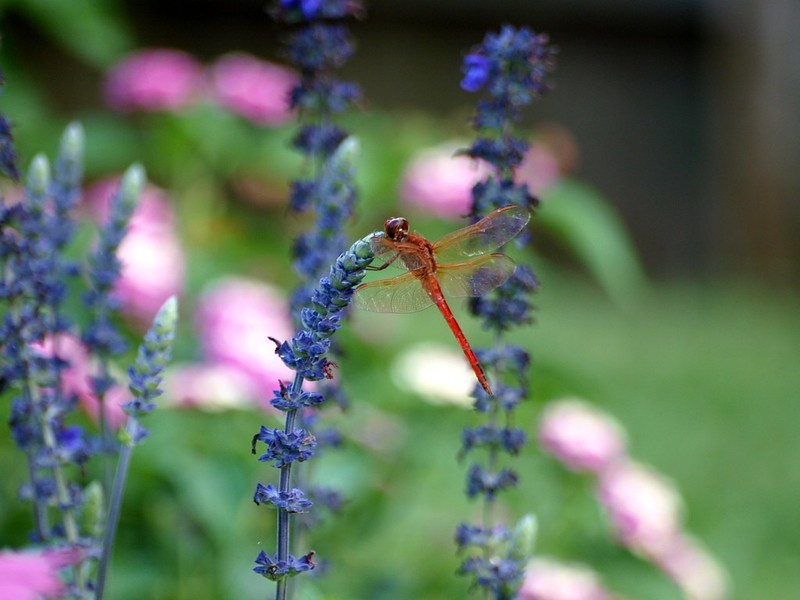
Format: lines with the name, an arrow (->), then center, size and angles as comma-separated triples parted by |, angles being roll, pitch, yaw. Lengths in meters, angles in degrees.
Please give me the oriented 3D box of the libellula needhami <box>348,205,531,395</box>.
libellula needhami -> 0.069, -0.059, 1.766 | 0.245, 0.294, 0.139 | -23, 19, 24
